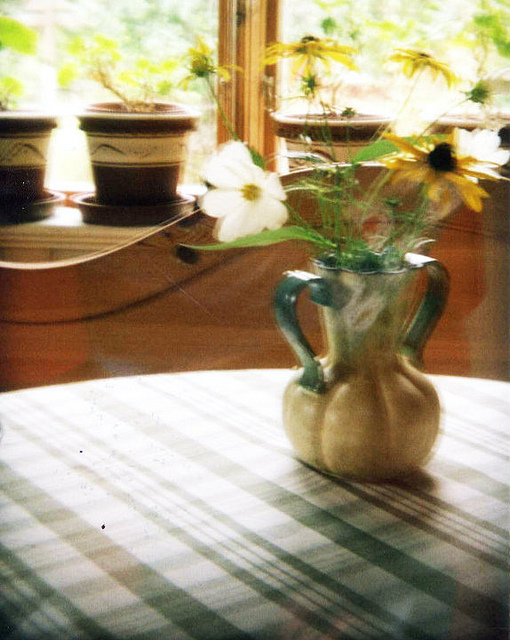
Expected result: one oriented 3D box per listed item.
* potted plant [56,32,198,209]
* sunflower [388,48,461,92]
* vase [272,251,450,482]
[{"bbox_3d":[-0.136,-0.201,0.690,0.156,0.137,0.132,-1,22,1],"label":"potted plant"},{"bbox_3d":[0.158,-0.232,0.613,0.051,0.040,0.052,-3,23,-5],"label":"sunflower"},{"bbox_3d":[0.089,0.043,0.618,0.206,0.180,0.155,-3,14,-37],"label":"vase"}]
